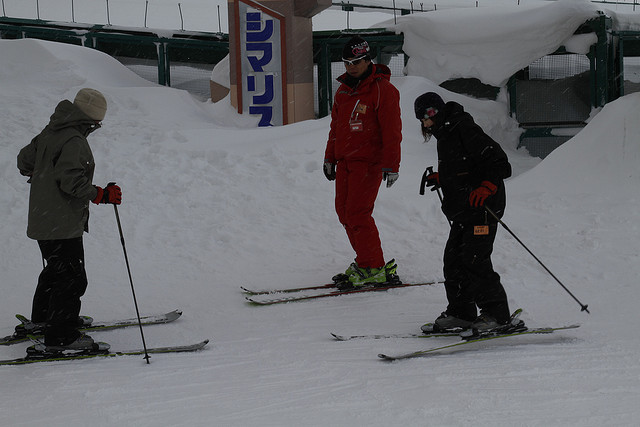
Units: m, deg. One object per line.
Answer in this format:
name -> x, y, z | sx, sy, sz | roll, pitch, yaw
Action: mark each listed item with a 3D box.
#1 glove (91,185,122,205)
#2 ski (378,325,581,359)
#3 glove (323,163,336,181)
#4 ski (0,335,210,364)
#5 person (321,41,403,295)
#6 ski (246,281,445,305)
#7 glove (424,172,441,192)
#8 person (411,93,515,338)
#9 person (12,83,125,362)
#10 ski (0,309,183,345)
glove -> -2.158, -0.193, 8.630 | 0.265, 0.196, 0.206 | -5, 5, -8
ski -> 1.562, 1.292, 8.579 | 2.041, 0.125, 0.254 | -5, 6, -14
glove -> 0.119, -0.490, 10.097 | 0.064, 0.186, 0.139 | -2, 47, 6
ski -> -2.199, 1.377, 8.536 | 1.855, 0.215, 0.194 | -2, 9, -9
person -> 0.515, -0.527, 9.819 | 0.886, 2.889, 0.415 | -4, 5, 3
ski -> 0.327, 0.917, 9.730 | 1.871, 0.137, 0.195 | -3, 8, -15
glove -> 1.196, -0.363, 9.023 | 0.184, 0.193, 0.143 | 13, 24, -10
person -> 1.515, -0.012, 8.691 | 0.884, 2.455, 0.473 | -3, 5, 9
person -> -2.547, 0.103, 8.567 | 1.027, 2.694, 0.560 | -5, 5, -5
ski -> -2.386, 1.192, 8.830 | 1.667, 0.115, 0.173 | -8, 27, -21
